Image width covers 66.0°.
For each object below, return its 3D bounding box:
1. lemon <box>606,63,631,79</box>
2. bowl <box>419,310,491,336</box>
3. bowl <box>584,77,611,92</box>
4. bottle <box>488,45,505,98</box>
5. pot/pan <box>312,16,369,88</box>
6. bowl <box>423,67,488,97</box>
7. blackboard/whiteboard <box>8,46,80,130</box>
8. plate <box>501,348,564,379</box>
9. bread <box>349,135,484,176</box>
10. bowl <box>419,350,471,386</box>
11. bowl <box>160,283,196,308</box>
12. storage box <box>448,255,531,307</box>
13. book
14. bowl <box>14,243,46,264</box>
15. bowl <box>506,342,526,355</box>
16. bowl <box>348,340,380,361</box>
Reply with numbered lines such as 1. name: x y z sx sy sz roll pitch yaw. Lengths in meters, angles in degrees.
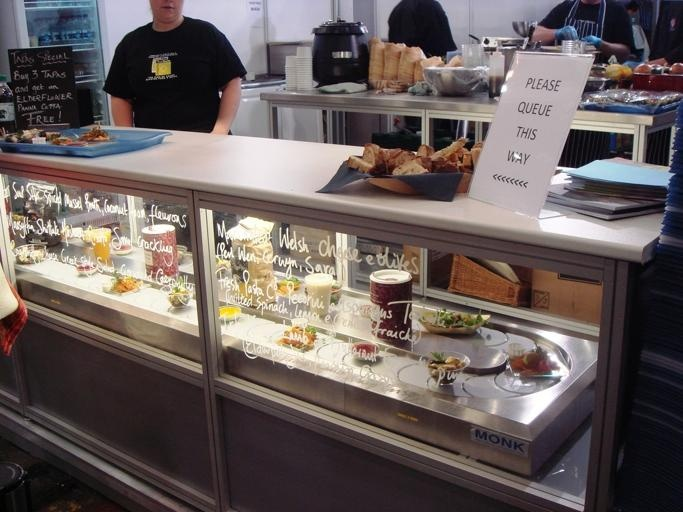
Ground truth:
1. lemon: 1.719 -1.152 3.274 0.126 0.045 0.118 2 27 6
2. bowl: 0.331 0.189 1.527 0.132 0.024 0.096 2 13 7
3. bowl: 1.560 -1.038 3.175 0.120 0.078 0.280 12 26 25
4. bottle: 0.996 -1.160 3.369 0.104 0.266 0.216 5 24 11
5. pot/pan: 0.016 -1.639 4.235 0.556 0.501 0.518 0 21 -1
6. bowl: 0.731 -1.136 3.421 0.281 0.103 0.267 -1 19 0
7. blackboard/whiteboard: -1.289 -0.716 2.260 0.330 0.339 0.108 4 25 9
8. plate: 0.530 0.297 1.434 0.097 0.029 0.094 11 20 43
9. bread: 0.204 -0.275 1.468 0.374 0.095 0.179 1 23 1
10. bowl: 0.286 0.318 1.467 0.147 0.056 0.142 -11 14 3
11. bowl: -0.613 0.130 1.960 0.115 0.068 0.108 2 14 0
12. storage box: 0.399 0.059 1.414 0.166 0.089 0.163 14 16 31
13. book: 0.642 -0.167 1.318 0.242 0.071 0.231 -16 24 -27
14. bowl: -1.401 -0.008 2.358 0.117 0.055 0.109 2 5 0
15. bowl: 0.483 0.257 1.447 0.033 0.026 0.040 -8 12 -38
16. bowl: 0.073 0.286 1.593 0.076 0.038 0.088 2 4 1
